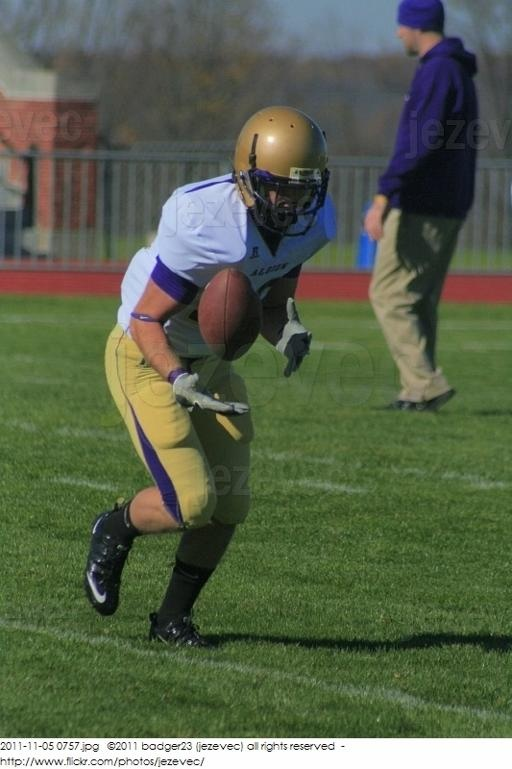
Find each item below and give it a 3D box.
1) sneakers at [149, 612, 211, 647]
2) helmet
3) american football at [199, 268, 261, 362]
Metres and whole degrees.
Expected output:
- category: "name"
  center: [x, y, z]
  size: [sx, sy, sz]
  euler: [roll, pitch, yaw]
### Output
- category: "sneakers"
  center: [-0.157, 0.498, 2.385]
  size: [0.142, 0.050, 0.050]
  euler: [7, 2, 12]
- category: "helmet"
  center: [0.046, -0.443, 2.375]
  size: [0.190, 0.207, 0.225]
  euler: [-7, 21, -21]
- category: "american football"
  center: [-0.047, -0.145, 2.321]
  size: [0.174, 0.129, 0.232]
  euler: [2, -14, 8]
